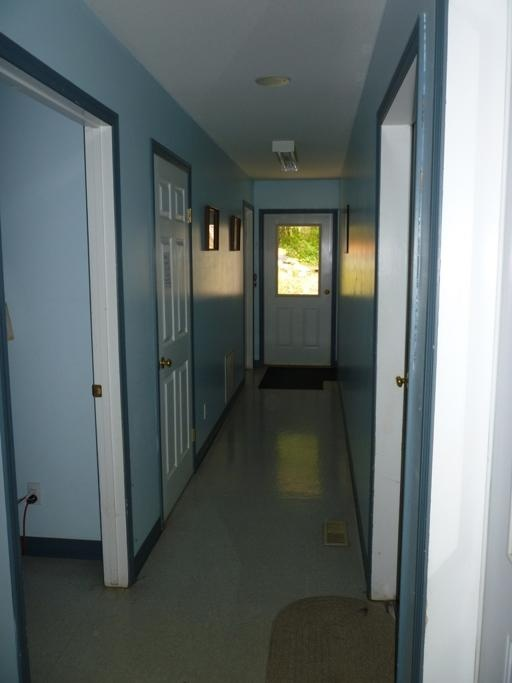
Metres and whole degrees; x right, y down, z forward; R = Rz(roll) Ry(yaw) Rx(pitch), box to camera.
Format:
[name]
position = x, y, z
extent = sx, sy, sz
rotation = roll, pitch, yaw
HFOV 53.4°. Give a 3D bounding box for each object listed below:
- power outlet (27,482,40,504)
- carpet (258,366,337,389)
[power outlet]
position = -1.105, 0.756, 2.532
extent = 0.053, 0.146, 0.032
rotation = 0, 6, -15
[carpet]
position = 0.546, 0.469, 6.626
extent = 1.015, 0.040, 1.255
rotation = 0, 8, 2
